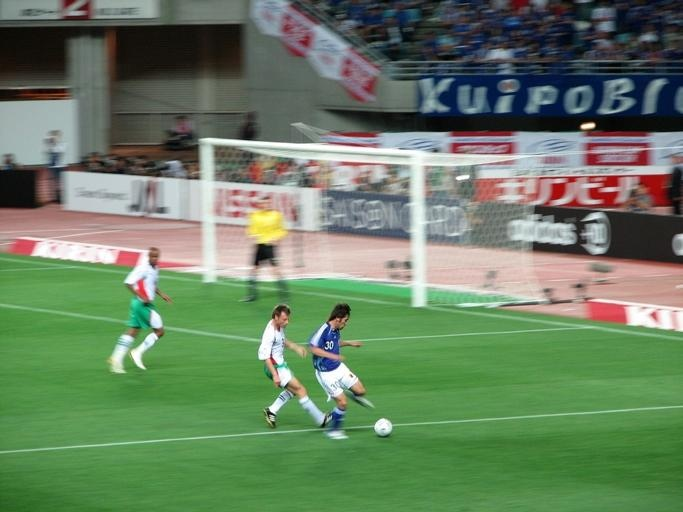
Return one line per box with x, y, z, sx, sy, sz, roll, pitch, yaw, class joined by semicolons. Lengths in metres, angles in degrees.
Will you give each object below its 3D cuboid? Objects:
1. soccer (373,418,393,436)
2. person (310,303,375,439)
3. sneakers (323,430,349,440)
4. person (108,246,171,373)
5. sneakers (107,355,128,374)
0.508;2.114;10.818;0.199;0.217;0.214;1;3;-1;soccer
-0.002;1.395;11.044;0.794;1.683;1.126;2;3;0;person
-0.064;2.212;10.865;0.249;0.072;0.114;4;4;40;sneakers
-3.040;0.807;13.021;0.758;1.868;0.502;1;4;-20;person
-3.336;1.597;13.089;0.302;0.259;0.110;-7;21;9;sneakers
